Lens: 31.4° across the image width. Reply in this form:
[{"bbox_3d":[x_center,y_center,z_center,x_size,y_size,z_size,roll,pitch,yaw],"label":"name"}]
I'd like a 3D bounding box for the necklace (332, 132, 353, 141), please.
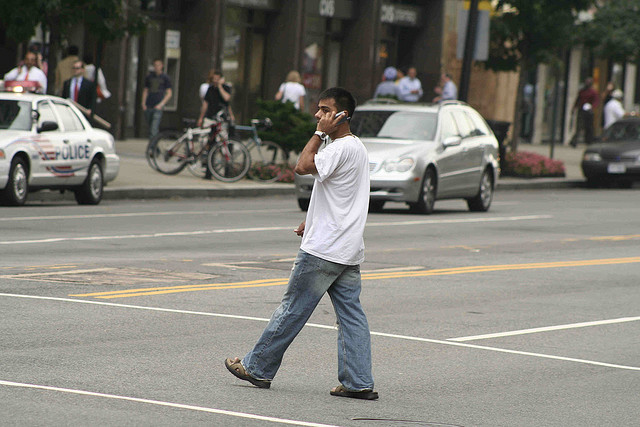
[{"bbox_3d":[0.198,-0.684,10.135,0.222,0.088,0.122,0,6,-23],"label":"necklace"}]

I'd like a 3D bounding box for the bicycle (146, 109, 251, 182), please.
[{"bbox_3d":[-2.643,-1.493,24.776,2.553,1.396,1.053,10,6,26],"label":"bicycle"}]

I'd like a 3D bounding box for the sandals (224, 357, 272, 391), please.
[{"bbox_3d":[-0.691,1.441,10.332,0.523,0.217,0.186,27,9,6],"label":"sandals"}]

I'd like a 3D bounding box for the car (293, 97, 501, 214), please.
[{"bbox_3d":[1.651,-1.214,22.719,2.729,2.015,5.993,7,6,22],"label":"car"}]

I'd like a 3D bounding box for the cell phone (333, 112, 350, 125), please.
[{"bbox_3d":[0.192,-0.851,10.093,0.137,0.042,0.093,-20,16,-21],"label":"cell phone"}]

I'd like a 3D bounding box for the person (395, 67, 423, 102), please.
[{"bbox_3d":[2.536,-3.695,32.494,0.651,0.933,1.276,3,5,3],"label":"person"}]

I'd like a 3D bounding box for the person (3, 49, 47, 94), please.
[{"bbox_3d":[-6.125,-2.964,23.837,1.035,1.075,2.155,4,-3,-16],"label":"person"}]

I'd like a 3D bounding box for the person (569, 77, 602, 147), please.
[{"bbox_3d":[9.098,-3.562,39.140,0.806,2.209,0.612,11,11,34],"label":"person"}]

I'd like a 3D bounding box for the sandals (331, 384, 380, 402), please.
[{"bbox_3d":[0.308,1.579,10.111,0.408,0.107,0.149,3,-1,18],"label":"sandals"}]
